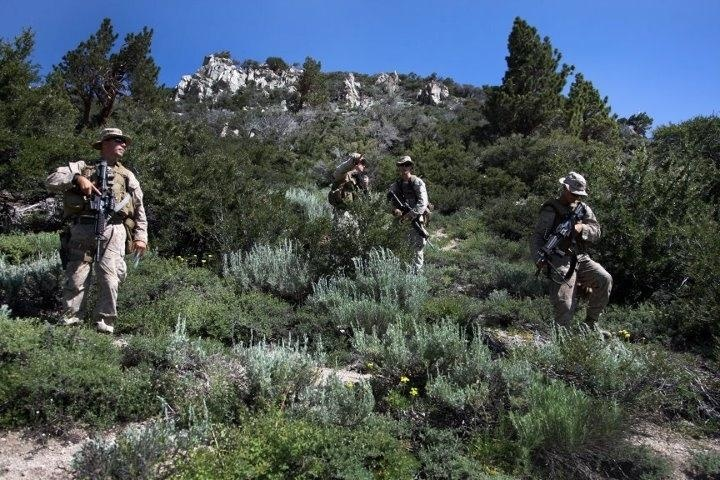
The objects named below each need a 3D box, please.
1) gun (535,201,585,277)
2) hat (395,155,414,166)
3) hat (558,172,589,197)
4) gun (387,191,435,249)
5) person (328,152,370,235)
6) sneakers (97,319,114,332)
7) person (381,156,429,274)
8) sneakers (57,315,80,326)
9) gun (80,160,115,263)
[{"bbox_3d":[3.520,0.014,11.007,0.893,1.434,0.424,4,-3,1],"label":"gun"},{"bbox_3d":[0.977,-1.677,13.511,0.353,0.247,0.532,-2,-1,3],"label":"hat"},{"bbox_3d":[3.845,-1.005,11.276,0.416,0.482,0.657,2,-3,24],"label":"hat"},{"bbox_3d":[1.024,-0.414,13.233,0.511,1.482,0.206,-33,-9,-14],"label":"gun"},{"bbox_3d":[-0.244,-1.248,14.066,0.822,1.627,2.041,4,-3,-3],"label":"person"},{"bbox_3d":[-4.036,1.367,9.963,0.276,0.160,0.157,7,-4,-38],"label":"sneakers"},{"bbox_3d":[1.019,-0.587,13.234,0.884,2.316,0.732,3,-3,8],"label":"person"},{"bbox_3d":[-4.449,1.239,9.664,0.308,0.122,0.224,6,-4,-28],"label":"sneakers"},{"bbox_3d":[-4.078,-0.525,10.015,0.535,1.746,0.305,-7,-10,39],"label":"gun"}]
